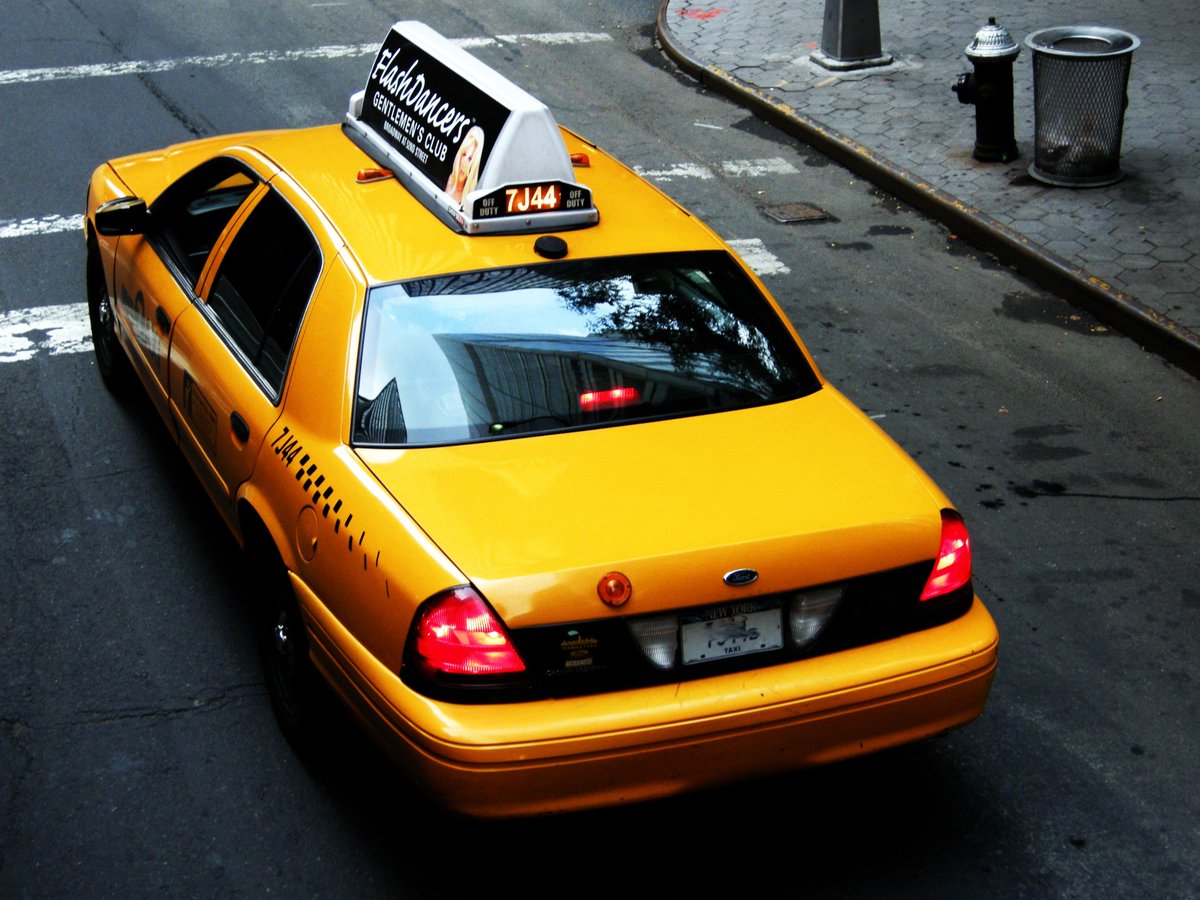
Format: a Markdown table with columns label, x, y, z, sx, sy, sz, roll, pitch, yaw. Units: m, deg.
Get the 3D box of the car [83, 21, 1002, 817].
| label | x | y | z | sx | sy | sz | roll | pitch | yaw |
| --- | --- | --- | --- | --- | --- | --- | --- | --- | --- |
| car | -0.221 | -0.920 | 5.810 | 2.507 | 1.906 | 5.272 | -17 | 32 | -7 |
